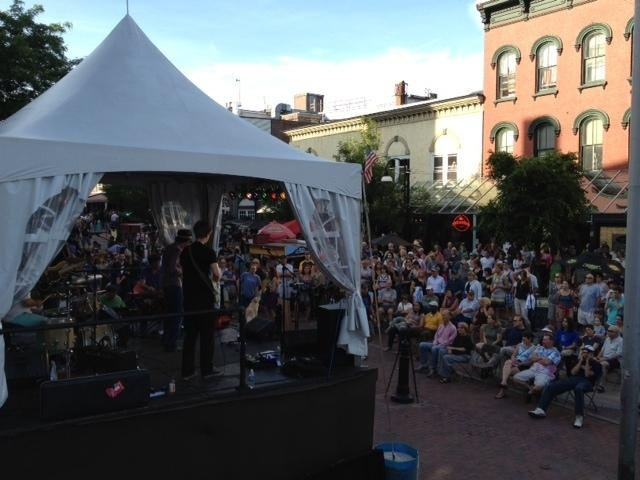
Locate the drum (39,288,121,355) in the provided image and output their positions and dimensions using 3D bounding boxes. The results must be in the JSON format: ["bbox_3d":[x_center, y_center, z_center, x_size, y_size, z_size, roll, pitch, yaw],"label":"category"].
[{"bbox_3d":[-4.129,1.469,12.941,1.454,0.994,1.003,-3,4,-7],"label":"drum"}]

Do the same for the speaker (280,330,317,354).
[{"bbox_3d":[-0.343,1.732,12.694,0.615,0.365,0.425,5,-8,-8],"label":"speaker"}]

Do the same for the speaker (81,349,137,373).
[{"bbox_3d":[-3.030,1.869,11.382,1.102,0.354,0.416,-2,-10,39],"label":"speaker"}]

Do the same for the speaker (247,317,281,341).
[{"bbox_3d":[-1.127,1.740,14.476,0.433,0.316,0.469,1,1,-30],"label":"speaker"}]
